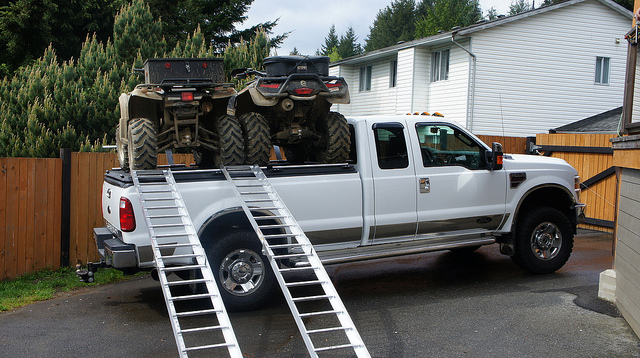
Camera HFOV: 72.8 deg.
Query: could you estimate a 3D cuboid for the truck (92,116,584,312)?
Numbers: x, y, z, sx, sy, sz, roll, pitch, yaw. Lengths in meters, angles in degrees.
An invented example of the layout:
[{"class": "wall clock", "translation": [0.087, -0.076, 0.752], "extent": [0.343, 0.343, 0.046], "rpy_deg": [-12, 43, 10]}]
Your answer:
[{"class": "truck", "translation": [0.931, 0.425, 9.573], "extent": [9.867, 2.975, 3.978], "rpy_deg": [-4, 6, -23]}]
